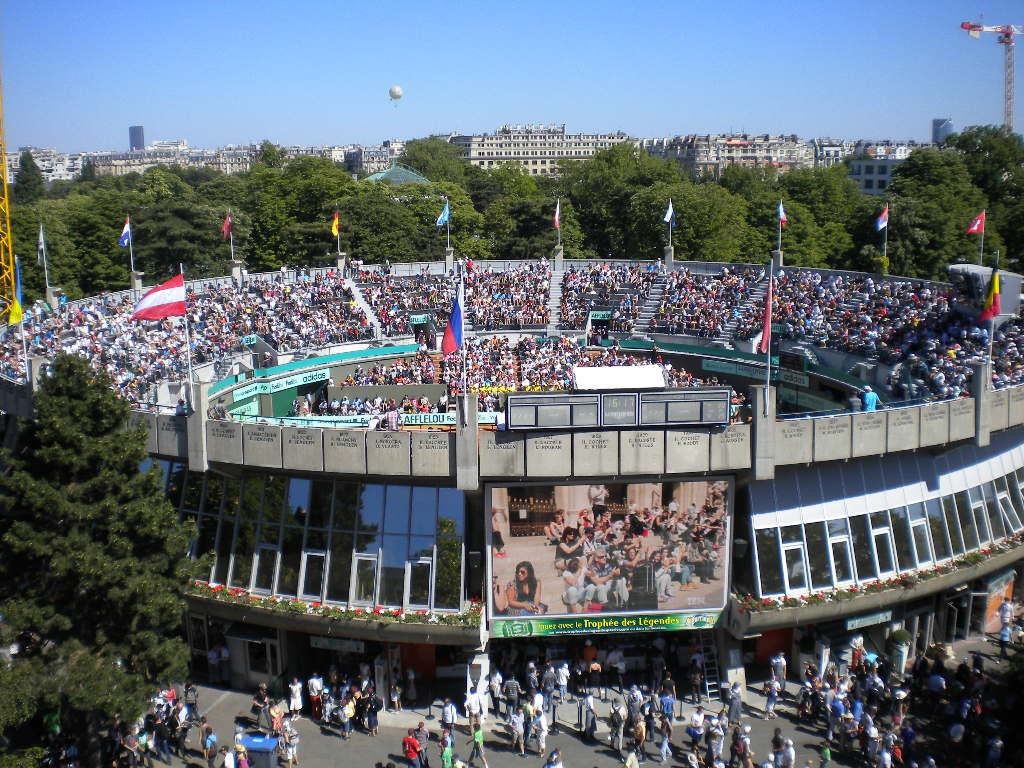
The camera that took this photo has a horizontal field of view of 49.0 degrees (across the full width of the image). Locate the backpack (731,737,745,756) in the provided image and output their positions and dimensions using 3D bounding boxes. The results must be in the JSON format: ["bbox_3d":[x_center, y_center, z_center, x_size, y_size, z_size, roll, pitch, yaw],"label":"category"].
[{"bbox_3d":[8.145,13.123,40.445,0.513,0.382,0.190,36,23,-29],"label":"backpack"}]
